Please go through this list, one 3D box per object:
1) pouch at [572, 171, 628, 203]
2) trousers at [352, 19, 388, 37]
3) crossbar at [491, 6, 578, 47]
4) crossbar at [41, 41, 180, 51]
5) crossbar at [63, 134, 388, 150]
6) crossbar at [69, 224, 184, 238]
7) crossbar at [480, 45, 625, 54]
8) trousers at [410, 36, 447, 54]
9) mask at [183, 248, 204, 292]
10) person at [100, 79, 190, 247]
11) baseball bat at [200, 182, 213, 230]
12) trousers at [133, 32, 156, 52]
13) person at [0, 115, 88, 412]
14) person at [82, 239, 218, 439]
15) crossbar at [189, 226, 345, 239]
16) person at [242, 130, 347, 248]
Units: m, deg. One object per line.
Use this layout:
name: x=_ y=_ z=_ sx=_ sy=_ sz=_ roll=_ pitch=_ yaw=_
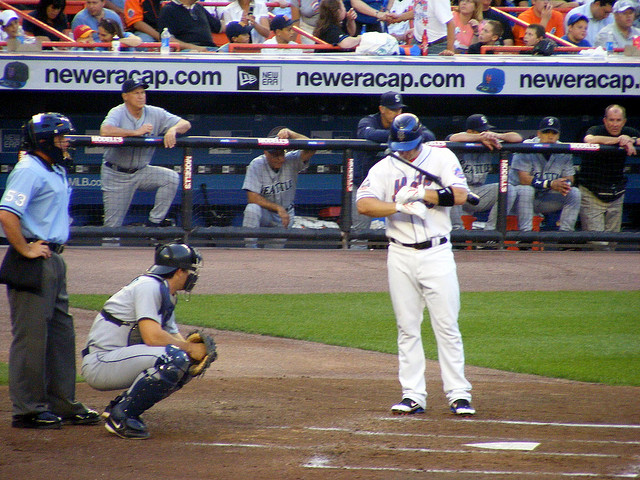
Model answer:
pouch: x=3.844 y=-0.749 z=22.413 sx=0.551 sy=0.446 sz=0.604 roll=-6 pitch=14 yaw=-28
trousers: x=0.787 y=-3.183 z=24.170 sx=0.289 sy=0.234 sz=0.802 roll=3 pitch=1 yaw=42
crossbar: x=3.253 y=-3.220 z=24.281 sx=2.074 sy=0.110 sz=0.121 roll=22 pitch=-1 yaw=12
crossbar: x=-3.022 y=-2.821 z=23.010 sx=1.968 sy=0.117 sz=0.391 roll=2 pitch=0 yaw=-11
crossbar: x=-1.284 y=-1.334 z=21.886 sx=4.278 sy=0.181 sz=0.472 roll=2 pitch=0 yaw=-5
crossbar: x=-2.661 y=-0.124 z=21.898 sx=1.504 sy=0.155 sz=0.293 roll=2 pitch=0 yaw=5
crossbar: x=3.388 y=-2.822 z=23.779 sx=1.963 sy=0.139 sz=0.617 roll=2 pitch=0 yaw=8
trousers: x=1.629 y=-2.883 z=23.506 sx=0.415 sy=0.280 sz=0.336 roll=-2 pitch=-8 yaw=9
mask: x=-1.342 y=0.310 z=16.719 sx=0.180 sy=0.386 sz=0.442 roll=3 pitch=0 yaw=-5
person: x=-2.442 y=-0.962 z=21.608 sx=1.129 sy=1.852 sz=0.868 roll=3 pitch=1 yaw=-6
baseball bat: x=-1.581 y=-0.480 z=22.046 sx=0.199 sy=0.544 sz=0.044 roll=4 pitch=1 yaw=2
trousers: x=-2.677 y=-2.923 z=23.505 sx=0.423 sy=0.271 sz=0.087 roll=4 pitch=2 yaw=19
person: x=-2.897 y=0.228 z=16.589 sx=0.907 sy=2.502 sz=0.420 roll=4 pitch=1 yaw=-6
person: x=-1.776 y=1.022 z=16.453 sx=1.330 sy=1.691 sz=0.486 roll=3 pitch=1 yaw=-6
crossbar: x=-0.740 y=-0.112 z=22.182 sx=2.118 sy=0.150 sz=0.297 roll=2 pitch=0 yaw=0
person: x=-0.479 y=-0.611 z=22.141 sx=1.202 sy=1.295 sz=0.343 roll=3 pitch=1 yaw=-1
